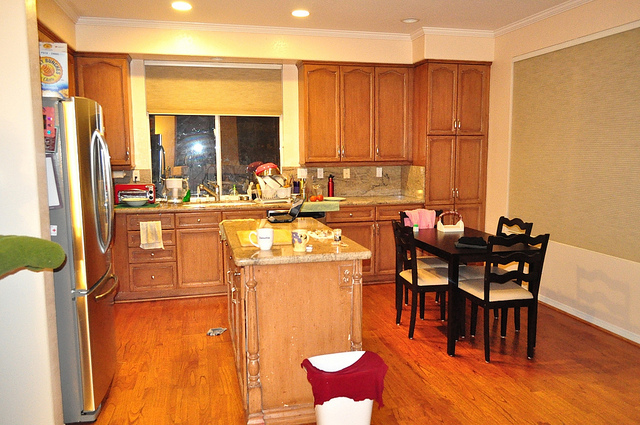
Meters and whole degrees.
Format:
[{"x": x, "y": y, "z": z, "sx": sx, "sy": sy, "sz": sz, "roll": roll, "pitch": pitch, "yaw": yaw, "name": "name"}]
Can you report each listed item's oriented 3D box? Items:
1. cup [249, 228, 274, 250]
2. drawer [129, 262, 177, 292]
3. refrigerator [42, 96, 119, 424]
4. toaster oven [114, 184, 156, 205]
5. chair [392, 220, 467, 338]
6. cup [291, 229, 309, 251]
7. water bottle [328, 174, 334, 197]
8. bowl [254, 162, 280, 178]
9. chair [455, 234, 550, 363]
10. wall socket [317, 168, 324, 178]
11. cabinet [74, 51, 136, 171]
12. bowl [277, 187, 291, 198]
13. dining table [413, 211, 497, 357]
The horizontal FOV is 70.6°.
[{"x": -0.491, "y": 0.208, "z": 3.583, "sx": 0.217, "sy": 0.146, "sz": 0.139, "roll": -4, "pitch": 11, "yaw": -18, "name": "cup"}, {"x": -2.081, "y": 0.797, "z": 5.652, "sx": 0.586, "sy": 0.323, "sz": 0.358, "roll": -1, "pitch": 3, "yaw": -22, "name": "drawer"}, {"x": -1.803, "y": 0.375, "z": 3.490, "sx": 0.231, "sy": 2.459, "sz": 0.579, "roll": 0, "pitch": 9, "yaw": 19, "name": "refrigerator"}, {"x": -2.374, "y": -0.220, "z": 5.770, "sx": 0.498, "sy": 0.266, "sz": 0.260, "roll": -4, "pitch": 8, "yaw": -13, "name": "toaster oven"}, {"x": 1.100, "y": 0.683, "z": 4.691, "sx": 0.790, "sy": 1.174, "sz": 0.621, "roll": 2, "pitch": 9, "yaw": 28, "name": "chair"}, {"x": -0.156, "y": 0.214, "z": 3.541, "sx": 0.163, "sy": 0.139, "sz": 0.123, "roll": 1, "pitch": 4, "yaw": -4, "name": "cup"}, {"x": 0.157, "y": -0.386, "z": 6.566, "sx": 0.091, "sy": 0.317, "sz": 0.229, "roll": -2, "pitch": 8, "yaw": 3, "name": "water bottle"}, {"x": -0.714, "y": -0.574, "z": 6.147, "sx": 0.198, "sy": 0.123, "sz": 0.246, "roll": -6, "pitch": 6, "yaw": -42, "name": "bowl"}, {"x": 1.654, "y": 0.764, "z": 4.480, "sx": 0.834, "sy": 1.170, "sz": 0.734, "roll": -4, "pitch": 8, "yaw": -6, "name": "chair"}, {"x": 0.009, "y": -0.574, "z": 6.608, "sx": 0.095, "sy": 0.139, "sz": 0.024, "roll": -5, "pitch": 9, "yaw": -16, "name": "wall socket"}, {"x": -2.745, "y": -1.296, "z": 5.860, "sx": 0.646, "sy": 1.444, "sz": 0.413, "roll": -3, "pitch": 11, "yaw": -21, "name": "cabinet"}, {"x": -0.494, "y": -0.299, "z": 6.307, "sx": 0.243, "sy": 0.160, "sz": 0.126, "roll": 1, "pitch": 10, "yaw": -4, "name": "bowl"}, {"x": 1.351, "y": 0.783, "z": 4.615, "sx": 0.688, "sy": 0.796, "sz": 1.293, "roll": -4, "pitch": 11, "yaw": -16, "name": "dining table"}]
